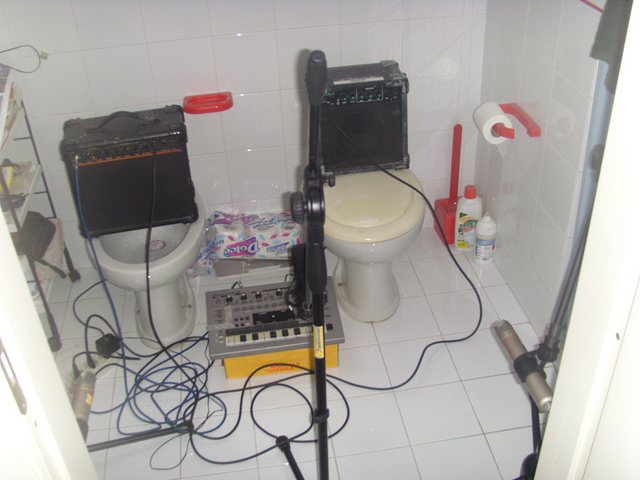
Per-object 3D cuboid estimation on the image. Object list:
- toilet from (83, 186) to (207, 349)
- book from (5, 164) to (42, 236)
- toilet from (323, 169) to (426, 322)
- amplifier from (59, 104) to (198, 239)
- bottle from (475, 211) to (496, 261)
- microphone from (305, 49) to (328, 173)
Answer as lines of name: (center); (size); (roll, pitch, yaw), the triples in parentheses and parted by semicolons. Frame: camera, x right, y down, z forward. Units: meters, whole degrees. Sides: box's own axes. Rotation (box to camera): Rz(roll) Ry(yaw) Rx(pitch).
toilet: (-0.644, 0.203, 2.351); (0.435, 0.678, 0.458); (13, 40, 3)
book: (-1.109, -0.174, 2.069); (0.132, 0.046, 0.282); (2, 51, -9)
toilet: (0.228, 0.037, 2.265); (0.393, 0.560, 0.409); (-3, 27, 3)
amplifier: (-0.729, -0.272, 2.111); (0.435, 0.436, 0.299); (-11, 34, -21)
bottle: (0.742, -0.012, 2.494); (0.085, 0.240, 0.065); (4, 27, 17)
microphone: (-0.006, -0.229, 1.005); (0.042, 0.231, 0.094); (-4, 26, 0)
